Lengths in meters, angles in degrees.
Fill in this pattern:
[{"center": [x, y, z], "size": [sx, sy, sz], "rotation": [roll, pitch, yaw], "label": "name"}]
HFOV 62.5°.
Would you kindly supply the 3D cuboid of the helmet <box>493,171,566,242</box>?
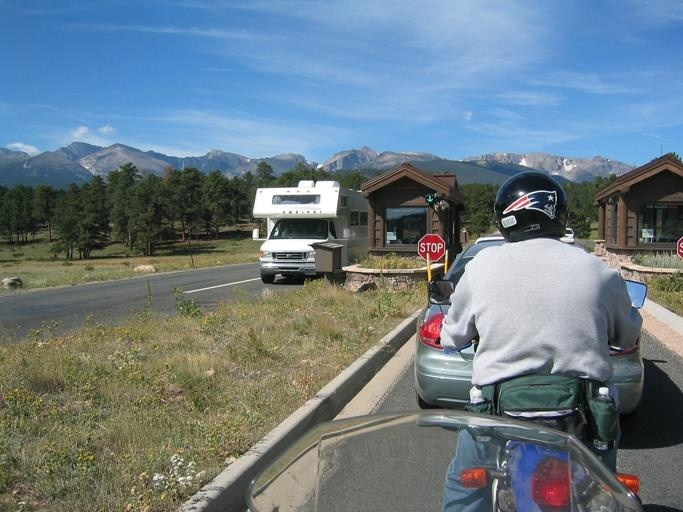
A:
[{"center": [1.054, -0.281, 3.151], "size": [0.309, 0.383, 0.436], "rotation": [-1, 11, 21], "label": "helmet"}]
